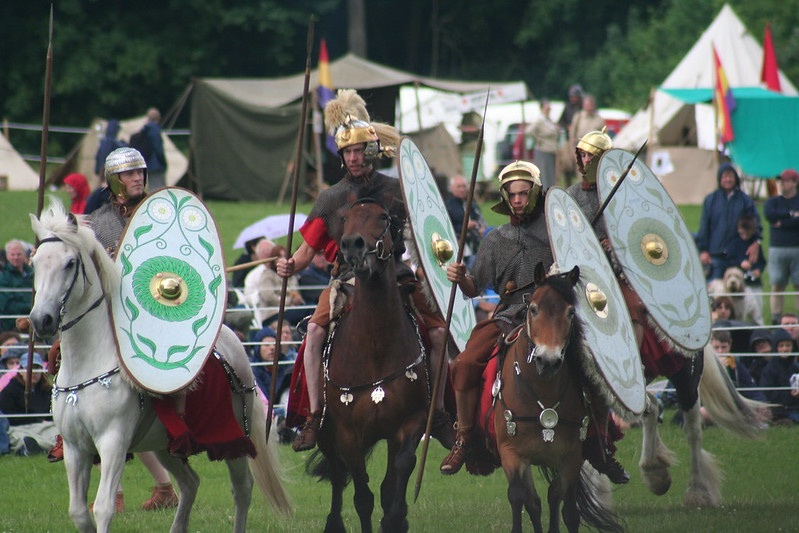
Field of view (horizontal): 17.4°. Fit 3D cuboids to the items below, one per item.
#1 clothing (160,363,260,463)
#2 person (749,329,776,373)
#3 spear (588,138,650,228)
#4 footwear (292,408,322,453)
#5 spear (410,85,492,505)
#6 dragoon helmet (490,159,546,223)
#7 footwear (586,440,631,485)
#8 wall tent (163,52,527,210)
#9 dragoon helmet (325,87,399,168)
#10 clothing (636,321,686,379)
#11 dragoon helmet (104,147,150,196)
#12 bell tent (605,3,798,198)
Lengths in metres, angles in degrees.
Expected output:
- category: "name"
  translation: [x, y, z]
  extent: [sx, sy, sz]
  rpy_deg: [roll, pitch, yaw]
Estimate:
- category: "clothing"
  translation: [-3.947, 2.993, 53.519]
  extent: [1.074, 1.634, 2.984]
  rpy_deg: [-10, -42, 15]
- category: "person"
  translation: [7.947, 1.801, 57.549]
  extent: [0.547, 0.856, 0.451]
  rpy_deg: [-5, -4, 27]
- category: "spear"
  translation: [4.511, -1.667, 54.404]
  extent: [0.324, 2.228, 0.222]
  rpy_deg: [39, -5, -2]
- category: "footwear"
  translation: [-1.904, 3.280, 53.855]
  extent: [0.360, 0.433, 1.027]
  rpy_deg: [15, 29, 12]
- category: "spear"
  translation: [1.076, 0.829, 56.482]
  extent: [0.167, 9.868, 0.247]
  rpy_deg: [12, -9, -6]
- category: "dragoon helmet"
  translation: [2.417, -1.556, 54.204]
  extent: [1.172, 1.010, 1.092]
  rpy_deg: [-3, -5, 4]
- category: "footwear"
  translation: [4.288, 4.002, 54.278]
  extent: [1.111, 0.350, 0.489]
  rpy_deg: [41, 4, -8]
- category: "wall tent"
  translation: [-2.751, -3.604, 67.736]
  extent: [5.381, 2.637, 5.342]
  rpy_deg: [-2, 2, -30]
- category: "dragoon helmet"
  translation: [-0.878, -2.787, 54.501]
  extent: [1.349, 1.525, 1.581]
  rpy_deg: [-26, -12, 37]
- category: "clothing"
  translation: [5.345, 1.713, 54.700]
  extent: [0.907, 1.147, 0.352]
  rpy_deg: [-35, 12, -29]
- category: "dragoon helmet"
  translation: [-5.824, -1.976, 53.994]
  extent: [0.947, 1.045, 0.838]
  rpy_deg: [-8, -5, 41]
- category: "bell tent"
  translation: [7.335, -3.653, 63.650]
  extent: [3.950, 3.471, 4.013]
  rpy_deg: [1, 6, 37]
